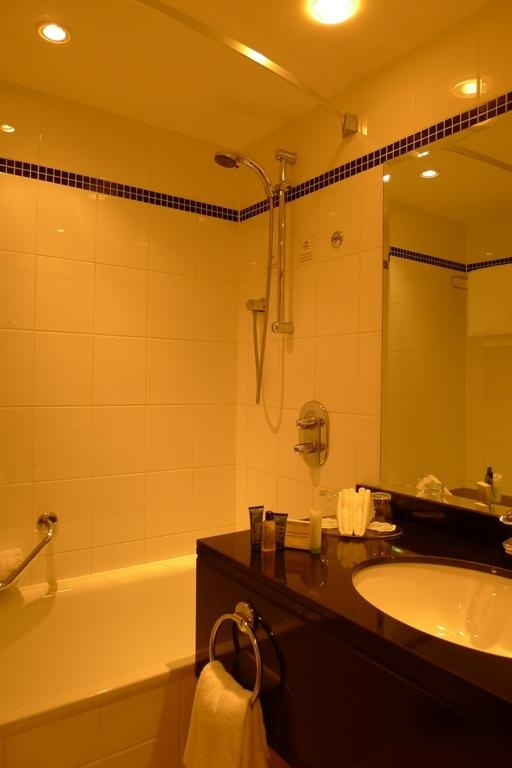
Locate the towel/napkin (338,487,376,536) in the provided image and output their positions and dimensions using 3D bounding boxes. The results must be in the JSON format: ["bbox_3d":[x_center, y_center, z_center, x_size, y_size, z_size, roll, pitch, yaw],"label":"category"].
[{"bbox_3d":[0.267,0.346,1.498,0.089,0.164,0.105,1,-3,6],"label":"towel/napkin"}]

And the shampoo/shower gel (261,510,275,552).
[{"bbox_3d":[0.031,0.380,1.395,0.035,0.073,0.024,-2,4,1],"label":"shampoo/shower gel"}]

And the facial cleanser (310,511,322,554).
[{"bbox_3d":[0.145,0.364,1.383,0.027,0.102,0.037,-2,4,5],"label":"facial cleanser"}]

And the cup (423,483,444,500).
[{"bbox_3d":[0.502,0.309,1.593,0.029,0.067,0.056,3,-3,-32],"label":"cup"}]
